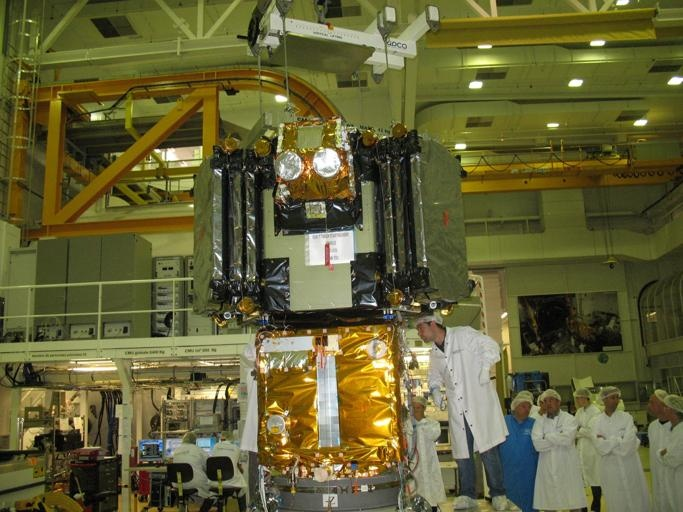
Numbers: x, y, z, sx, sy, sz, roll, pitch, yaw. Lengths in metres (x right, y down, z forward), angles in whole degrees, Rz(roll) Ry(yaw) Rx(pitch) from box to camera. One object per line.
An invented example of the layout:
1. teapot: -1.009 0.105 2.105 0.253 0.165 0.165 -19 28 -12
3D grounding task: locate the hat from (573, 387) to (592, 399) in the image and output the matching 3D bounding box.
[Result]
1. hat: 5.290 2.995 15.783 0.394 0.326 0.323 -12 -7 17

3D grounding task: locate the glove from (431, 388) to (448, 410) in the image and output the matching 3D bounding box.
1. glove: 1.471 2.144 10.898 0.262 0.391 0.149 -6 -12 25

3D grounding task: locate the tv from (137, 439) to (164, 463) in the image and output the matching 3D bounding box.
1. tv: -4.594 4.707 17.335 0.669 0.696 0.259 -1 -18 0

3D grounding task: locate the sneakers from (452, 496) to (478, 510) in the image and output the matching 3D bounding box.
1. sneakers: 1.778 3.544 10.397 0.282 0.188 0.173 7 -10 -4

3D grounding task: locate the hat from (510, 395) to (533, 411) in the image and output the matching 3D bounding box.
1. hat: 3.132 2.548 12.539 0.269 0.187 0.330 2 -9 6

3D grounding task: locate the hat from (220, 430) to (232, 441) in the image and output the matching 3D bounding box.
1. hat: -2.576 4.027 16.134 0.195 0.254 0.243 12 -21 -31

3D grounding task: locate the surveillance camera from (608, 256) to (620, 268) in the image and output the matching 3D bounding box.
1. surveillance camera: 10.190 0.229 27.034 0.407 0.298 0.412 2 -7 -5
